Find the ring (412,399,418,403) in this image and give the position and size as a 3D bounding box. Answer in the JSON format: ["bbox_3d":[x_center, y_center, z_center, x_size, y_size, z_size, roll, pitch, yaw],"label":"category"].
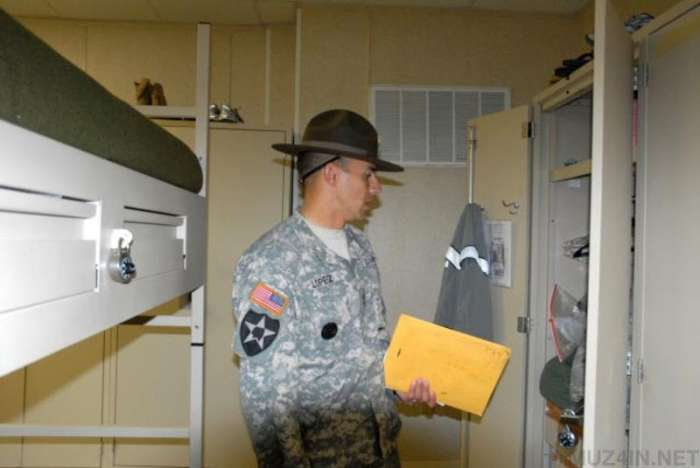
[{"bbox_3d":[0.318,0.822,2.516,0.025,0.019,0.014,5,-8,-24],"label":"ring"}]
